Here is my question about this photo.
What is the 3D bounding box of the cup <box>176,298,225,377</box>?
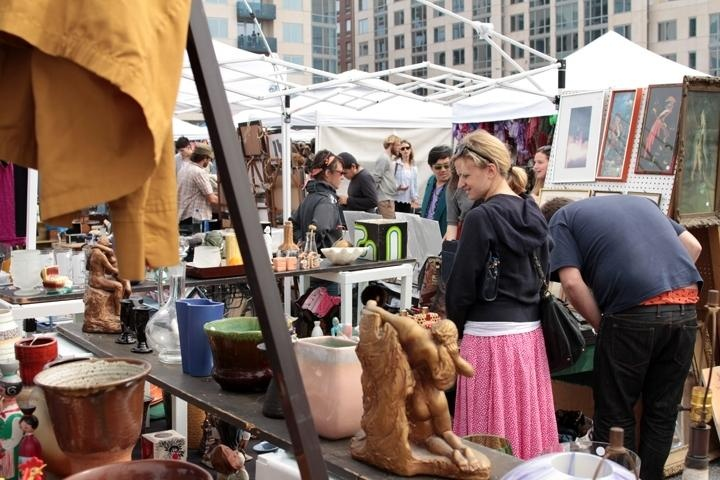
[{"bbox_3d":[-0.636,0.384,2.499,0.165,0.285,0.128,1,5,29],"label":"cup"}]

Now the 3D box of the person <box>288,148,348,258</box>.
[{"bbox_3d":[-0.417,-0.381,6.176,0.502,0.977,0.785,-2,4,-6],"label":"person"}]

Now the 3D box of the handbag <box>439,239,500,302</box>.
[{"bbox_3d":[0.572,0.157,3.267,0.300,0.343,0.175,9,11,44],"label":"handbag"}]

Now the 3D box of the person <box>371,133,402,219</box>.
[{"bbox_3d":[0.408,-0.992,9.796,0.406,1.287,0.865,-1,4,4],"label":"person"}]

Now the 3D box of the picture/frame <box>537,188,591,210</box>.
[{"bbox_3d":[1.402,-0.282,4.331,0.376,0.038,0.278,12,36,37],"label":"picture/frame"}]

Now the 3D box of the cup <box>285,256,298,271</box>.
[{"bbox_3d":[-0.574,0.201,5.299,0.099,0.102,0.109,-3,-2,38],"label":"cup"}]

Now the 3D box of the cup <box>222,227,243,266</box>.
[{"bbox_3d":[-1.010,0.083,5.111,0.156,0.246,0.148,-1,2,0],"label":"cup"}]

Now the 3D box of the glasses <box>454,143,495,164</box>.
[{"bbox_3d":[0.593,-0.444,3.274,0.127,0.036,0.125,23,-1,-17],"label":"glasses"}]

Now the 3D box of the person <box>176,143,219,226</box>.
[{"bbox_3d":[-2.237,-0.763,8.724,0.535,1.156,2.083,-3,4,-15],"label":"person"}]

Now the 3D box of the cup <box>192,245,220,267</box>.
[{"bbox_3d":[-1.208,0.127,4.981,0.177,0.173,0.173,1,1,0],"label":"cup"}]

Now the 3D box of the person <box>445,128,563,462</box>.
[{"bbox_3d":[0.764,0.378,3.500,0.626,1.895,0.599,-20,26,-30],"label":"person"}]

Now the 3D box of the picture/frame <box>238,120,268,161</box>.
[{"bbox_3d":[-1.692,-1.643,10.209,0.439,0.577,0.428,-4,13,-3],"label":"picture/frame"}]

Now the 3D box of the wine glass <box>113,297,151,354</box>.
[{"bbox_3d":[-1.050,0.406,2.920,0.097,0.141,0.201,-4,8,-30],"label":"wine glass"}]

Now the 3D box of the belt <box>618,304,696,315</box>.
[{"bbox_3d":[1.596,0.370,3.385,0.432,0.062,0.071,-2,4,-10],"label":"belt"}]

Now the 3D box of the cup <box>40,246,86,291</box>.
[{"bbox_3d":[-2.039,0.210,4.351,0.132,0.250,0.252,-10,-3,31],"label":"cup"}]
